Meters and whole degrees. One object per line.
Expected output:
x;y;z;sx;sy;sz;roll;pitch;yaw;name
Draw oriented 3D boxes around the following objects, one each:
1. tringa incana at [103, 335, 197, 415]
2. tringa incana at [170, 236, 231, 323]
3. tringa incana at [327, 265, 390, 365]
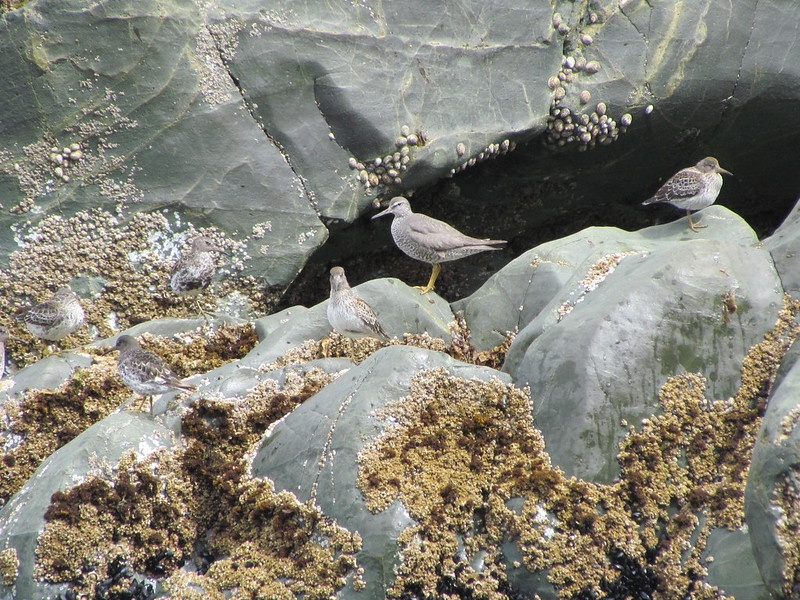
-2.453;0.734;11.237;0.874;0.761;0.415;7;5;3;tringa incana
-2.289;-0.396;12.932;0.395;0.464;0.675;15;47;14;tringa incana
-0.462;-0.008;11.991;0.779;1.086;0.530;11;45;12;tringa incana
